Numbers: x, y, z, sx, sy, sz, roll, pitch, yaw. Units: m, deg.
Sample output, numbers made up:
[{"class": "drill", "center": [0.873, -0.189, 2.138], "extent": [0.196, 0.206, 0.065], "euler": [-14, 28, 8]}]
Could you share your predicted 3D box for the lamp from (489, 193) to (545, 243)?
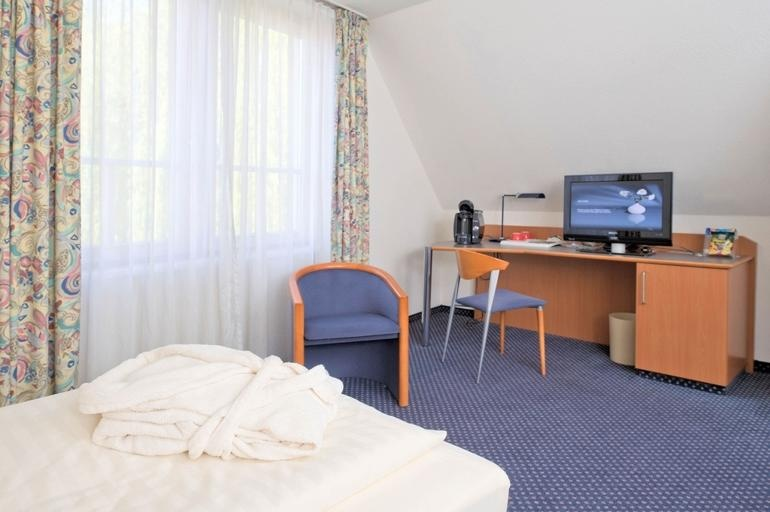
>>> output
[{"class": "lamp", "center": [1.249, -0.376, 5.372], "extent": [0.487, 0.454, 0.143], "euler": [4, 11, 36]}]

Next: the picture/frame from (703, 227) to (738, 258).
[{"class": "picture/frame", "center": [2.583, -0.081, 4.460], "extent": [0.281, 0.270, 0.218], "euler": [0, -5, 45]}]

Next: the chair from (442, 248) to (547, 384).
[{"class": "chair", "center": [0.866, 0.443, 4.538], "extent": [0.764, 0.918, 0.688], "euler": [-3, 5, -36]}]

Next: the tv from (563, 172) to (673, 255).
[{"class": "tv", "center": [1.920, -0.364, 4.698], "extent": [0.890, 0.622, 0.254], "euler": [5, 13, 41]}]

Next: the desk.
[{"class": "desk", "center": [1.656, 0.364, 5.116], "extent": [1.100, 1.233, 2.708], "euler": [-6, 8, -42]}]

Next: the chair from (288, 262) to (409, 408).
[{"class": "chair", "center": [-0.282, 0.530, 4.085], "extent": [0.838, 0.842, 0.842], "euler": [0, 6, -6]}]
